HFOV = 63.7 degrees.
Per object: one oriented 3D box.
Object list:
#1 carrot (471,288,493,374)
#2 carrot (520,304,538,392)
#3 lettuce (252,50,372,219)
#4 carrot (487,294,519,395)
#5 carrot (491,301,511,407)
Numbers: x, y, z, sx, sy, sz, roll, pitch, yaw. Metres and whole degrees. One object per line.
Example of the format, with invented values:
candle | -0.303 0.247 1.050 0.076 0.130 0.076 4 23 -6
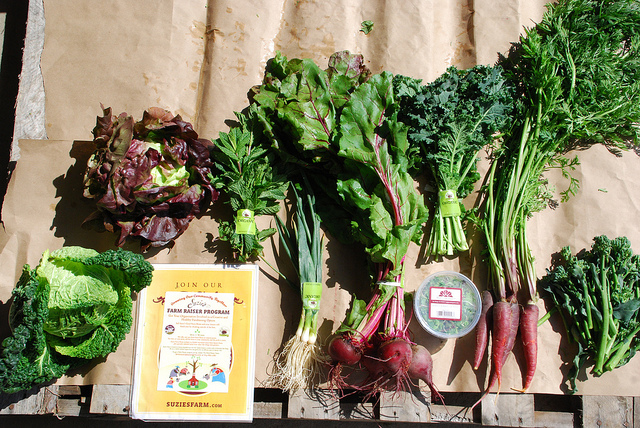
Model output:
carrot | 0.985 0.672 3.106 0.100 0.525 0.105 14 -12 -8
carrot | 1.251 0.789 3.098 0.109 0.518 0.101 4 5 24
lettuce | -0.063 -0.511 3.172 0.703 1.021 0.299 3 5 5
carrot | 1.081 0.739 3.112 0.148 0.689 0.139 8 5 -8
carrot | 1.070 0.773 3.056 0.104 0.512 0.083 3 5 18
